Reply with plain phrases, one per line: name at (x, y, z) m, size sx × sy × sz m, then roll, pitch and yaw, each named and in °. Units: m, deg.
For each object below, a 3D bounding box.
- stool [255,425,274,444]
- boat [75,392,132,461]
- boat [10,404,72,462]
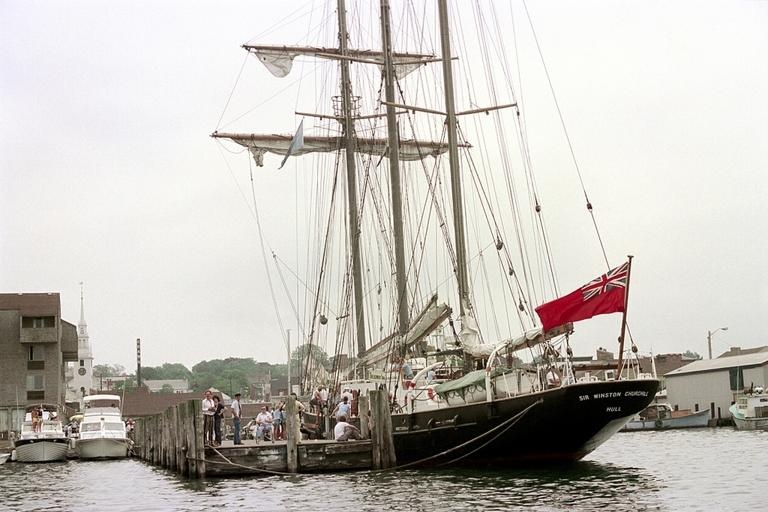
stool at (-6.586, 9.776, 47.115) m, size 1.180 × 1.171 × 0.965 m, roll 4°, pitch -20°, yaw -17°
boat at (-21.015, 12.946, 63.580) m, size 3.052 × 4.229 × 9.414 m, roll 1°, pitch -11°, yaw -14°
boat at (-23.480, 12.183, 58.695) m, size 3.183 × 4.009 × 4.998 m, roll 1°, pitch -13°, yaw -22°
